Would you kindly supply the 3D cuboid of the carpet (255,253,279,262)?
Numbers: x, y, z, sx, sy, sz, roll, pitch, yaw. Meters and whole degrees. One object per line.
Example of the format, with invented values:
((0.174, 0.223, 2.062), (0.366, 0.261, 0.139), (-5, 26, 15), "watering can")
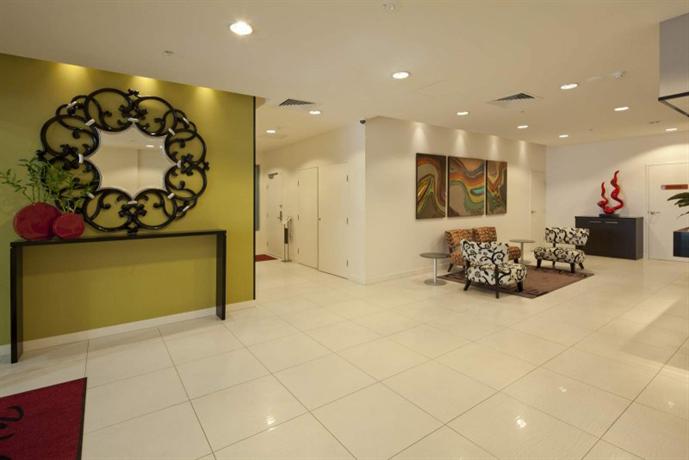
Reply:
((-2.121, 0.672, 10.892), (0.539, 0.133, 1.157), (-3, 9, -14), "carpet")

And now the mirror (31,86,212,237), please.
((-3.249, -0.978, 5.753), (2.111, 2.206, 0.108), (-2, 0, -40), "mirror")
